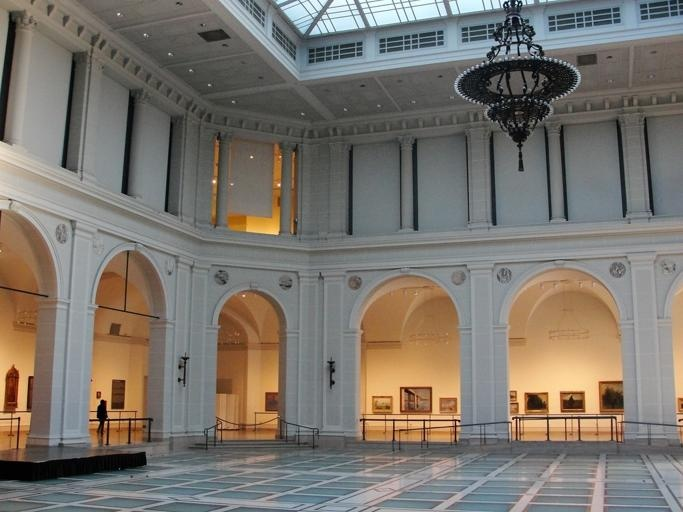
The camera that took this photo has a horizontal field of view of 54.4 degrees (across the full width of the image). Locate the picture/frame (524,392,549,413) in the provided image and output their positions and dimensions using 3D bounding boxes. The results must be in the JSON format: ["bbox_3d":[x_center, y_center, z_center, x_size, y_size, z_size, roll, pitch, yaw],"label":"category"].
[{"bbox_3d":[9.236,6.884,31.340,1.125,0.952,0.079,0,-22,8],"label":"picture/frame"}]

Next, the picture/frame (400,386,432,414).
[{"bbox_3d":[3.729,7.112,32.970,1.490,1.110,0.143,0,-7,13],"label":"picture/frame"}]

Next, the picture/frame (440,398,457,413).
[{"bbox_3d":[5.229,7.246,32.372,0.850,0.644,0.065,0,-23,16],"label":"picture/frame"}]

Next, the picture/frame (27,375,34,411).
[{"bbox_3d":[-12.989,5.625,27.553,0.214,1.520,1.405,7,-17,-27],"label":"picture/frame"}]

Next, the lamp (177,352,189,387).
[{"bbox_3d":[-5.827,4.135,24.362,0.179,1.165,0.569,-9,-17,28],"label":"lamp"}]

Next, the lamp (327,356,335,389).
[{"bbox_3d":[-0.407,4.570,26.171,0.318,1.160,0.161,-1,-15,-1],"label":"lamp"}]

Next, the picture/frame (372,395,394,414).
[{"bbox_3d":[2.101,7.417,33.373,1.001,0.758,0.083,0,-21,9],"label":"picture/frame"}]
